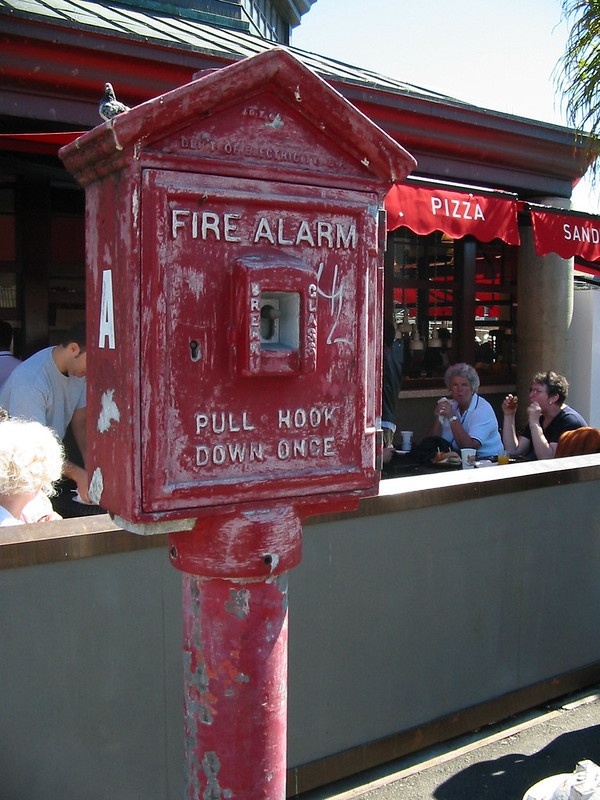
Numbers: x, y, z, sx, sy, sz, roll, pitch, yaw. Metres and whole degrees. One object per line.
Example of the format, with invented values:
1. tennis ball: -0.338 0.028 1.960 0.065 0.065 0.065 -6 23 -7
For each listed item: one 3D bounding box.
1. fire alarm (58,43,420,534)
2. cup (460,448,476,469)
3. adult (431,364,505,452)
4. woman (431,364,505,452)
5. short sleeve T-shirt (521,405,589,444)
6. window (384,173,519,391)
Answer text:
1. fire alarm: -0.094 -0.191 1.603 0.653 0.844 0.327 -1 4 -19
2. cup: 0.948 0.330 4.831 0.095 0.105 0.101 1 -10 0
3. adult: 1.186 0.064 6.202 0.505 0.726 0.434 16 -22 -32
4. woman: 1.186 0.064 6.202 0.505 0.726 0.434 16 -22 -32
5. short sleeve T-shirt: 1.584 0.144 5.383 0.327 0.311 0.269 -12 1 10
6. window: 1.549 -1.042 8.796 0.596 1.623 1.781 -1 7 33
